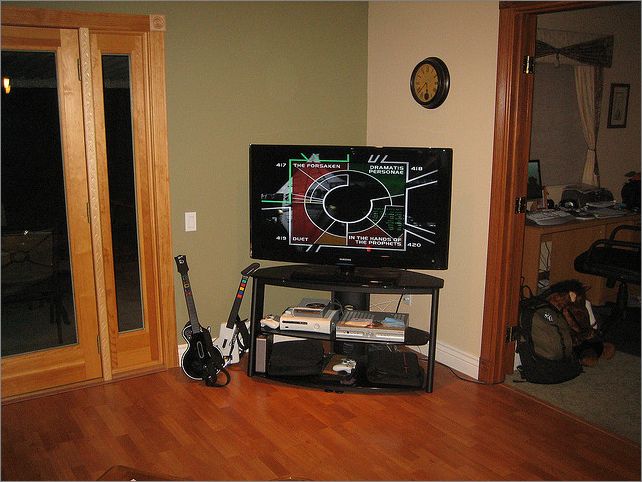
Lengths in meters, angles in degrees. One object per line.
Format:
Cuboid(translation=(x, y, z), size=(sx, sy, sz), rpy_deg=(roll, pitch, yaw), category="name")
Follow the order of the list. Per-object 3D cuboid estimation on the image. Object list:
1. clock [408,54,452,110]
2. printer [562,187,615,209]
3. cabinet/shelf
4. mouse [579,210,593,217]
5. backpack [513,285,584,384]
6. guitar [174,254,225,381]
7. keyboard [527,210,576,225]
Cuboid(translation=(0.860, -1.257, 3.913), size=(0.093, 0.541, 0.453), rpy_deg=(-5, 6, -37), category="clock")
Cuboid(translation=(2.728, -0.469, 5.210), size=(0.466, 0.206, 0.273), rpy_deg=(-8, 20, -28), category="printer")
Cuboid(translation=(0.193, 0.416, 4.107), size=(1.607, 1.001, 0.869), rpy_deg=(4, 4, 9), category="cabinet/shelf")
Cuboid(translation=(2.563, -0.263, 4.863), size=(0.126, 0.063, 0.220), rpy_deg=(8, 13, 29), category="mouse")
Cuboid(translation=(1.709, 0.750, 3.893), size=(0.494, 0.669, 0.231), rpy_deg=(3, -11, -21), category="backpack")
Cuboid(translation=(-0.898, 0.617, 3.842), size=(0.459, 0.977, 0.208), rpy_deg=(4, 12, 15), category="guitar")
Cuboid(translation=(2.135, -0.210, 4.660), size=(0.536, 0.092, 0.241), rpy_deg=(-5, 13, -30), category="keyboard")
